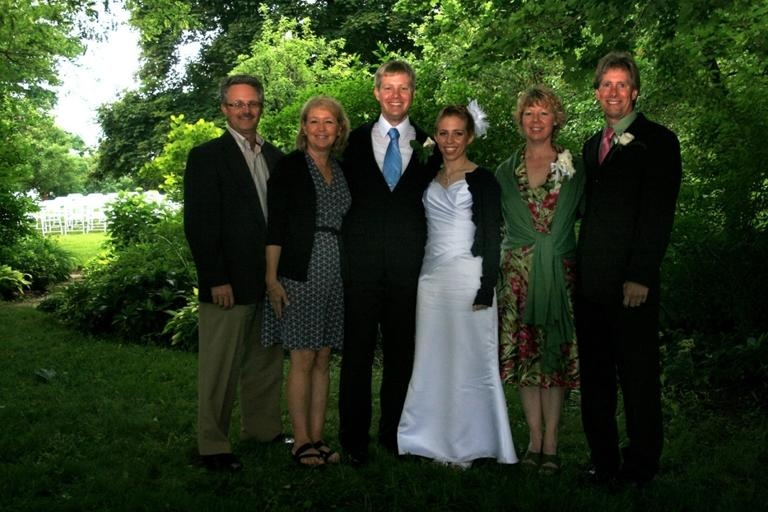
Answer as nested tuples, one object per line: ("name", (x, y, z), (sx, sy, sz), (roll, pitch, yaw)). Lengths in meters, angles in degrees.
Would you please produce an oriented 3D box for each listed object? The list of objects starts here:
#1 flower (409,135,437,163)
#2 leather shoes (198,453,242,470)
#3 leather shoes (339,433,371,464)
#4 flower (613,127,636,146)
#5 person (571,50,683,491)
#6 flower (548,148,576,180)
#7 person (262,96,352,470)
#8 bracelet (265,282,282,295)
("flower", (0.362, -0.999, 6.309), (0.247, 0.120, 0.241), (2, 34, 8))
("leather shoes", (-1.516, 1.903, 6.172), (0.264, 0.075, 0.183), (-1, -7, 8))
("leather shoes", (-0.272, 1.809, 6.290), (0.215, 0.256, 0.071), (0, -15, -1))
("flower", (2.075, -1.037, 5.816), (0.170, 0.139, 0.134), (6, 15, 29))
("person", (2.097, 0.104, 5.879), (0.804, 3.695, 0.852), (3, 14, 17))
("flower", (1.632, -0.878, 6.016), (0.283, 0.099, 0.233), (23, 23, 12))
("person", (-0.730, 0.218, 6.171), (0.798, 3.319, 0.891), (0, 14, 5))
("bracelet", (-1.002, 0.287, 6.130), (0.121, 0.098, 0.092), (29, 9, 23))
